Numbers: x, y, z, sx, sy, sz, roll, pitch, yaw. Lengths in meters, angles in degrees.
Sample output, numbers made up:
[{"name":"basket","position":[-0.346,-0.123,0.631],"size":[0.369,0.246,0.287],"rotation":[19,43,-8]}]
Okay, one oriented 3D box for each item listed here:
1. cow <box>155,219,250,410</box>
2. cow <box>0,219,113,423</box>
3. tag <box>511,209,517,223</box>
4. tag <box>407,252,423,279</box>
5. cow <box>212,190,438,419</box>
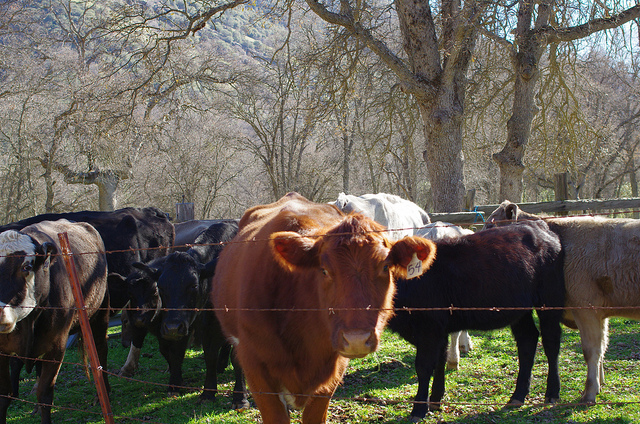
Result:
[{"name":"cow","position":[-3.651,1.957,20.908],"size":[1.598,3.601,6.386],"rotation":[7,16,-7]},{"name":"cow","position":[-5.882,2.432,18.057],"size":[2.887,4.838,2.750],"rotation":[3,-8,-35]},{"name":"tag","position":[4.658,0.101,18.746],"size":[0.098,0.327,0.166],"rotation":[-6,1,10]},{"name":"tag","position":[1.976,1.115,16.333],"size":[0.311,0.540,0.150],"rotation":[-2,-6,5]},{"name":"cow","position":[-0.156,2.059,16.864],"size":[4.385,4.822,1.729],"rotation":[-3,-6,10]}]
